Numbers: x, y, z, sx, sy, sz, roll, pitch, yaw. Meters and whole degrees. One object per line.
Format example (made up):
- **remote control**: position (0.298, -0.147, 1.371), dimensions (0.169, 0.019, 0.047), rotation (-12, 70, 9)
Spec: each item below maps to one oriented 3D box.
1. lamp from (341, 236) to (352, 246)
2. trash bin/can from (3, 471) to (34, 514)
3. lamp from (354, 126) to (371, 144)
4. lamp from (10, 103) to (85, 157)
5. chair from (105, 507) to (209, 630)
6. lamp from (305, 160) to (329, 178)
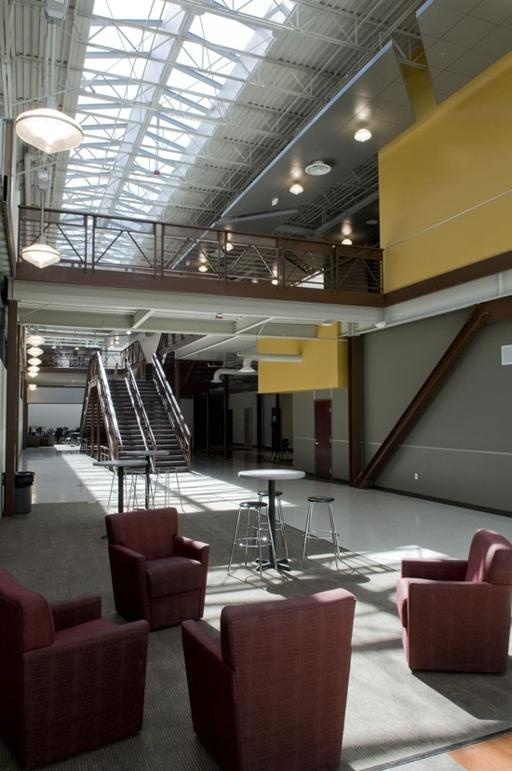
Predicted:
- **lamp**: position (2.579, -4.059, 15.124), dimensions (0.246, 0.198, 0.525), rotation (2, 0, 16)
- **trash bin/can**: position (-3.582, 1.671, 8.413), dimensions (0.507, 0.611, 0.549), rotation (-2, -4, 15)
- **lamp**: position (1.864, -4.298, 9.252), dimensions (0.302, 0.211, 0.676), rotation (2, 0, 12)
- **lamp**: position (-1.477, -1.808, 3.751), dimensions (0.364, 0.322, 0.388), rotation (1, 0, 29)
- **chair**: position (-0.741, 1.299, 4.109), dimensions (0.702, 0.994, 0.773), rotation (3, -9, -32)
- **lamp**: position (1.178, -4.118, 10.044), dimensions (0.317, 0.104, 0.335), rotation (-3, -6, 14)
